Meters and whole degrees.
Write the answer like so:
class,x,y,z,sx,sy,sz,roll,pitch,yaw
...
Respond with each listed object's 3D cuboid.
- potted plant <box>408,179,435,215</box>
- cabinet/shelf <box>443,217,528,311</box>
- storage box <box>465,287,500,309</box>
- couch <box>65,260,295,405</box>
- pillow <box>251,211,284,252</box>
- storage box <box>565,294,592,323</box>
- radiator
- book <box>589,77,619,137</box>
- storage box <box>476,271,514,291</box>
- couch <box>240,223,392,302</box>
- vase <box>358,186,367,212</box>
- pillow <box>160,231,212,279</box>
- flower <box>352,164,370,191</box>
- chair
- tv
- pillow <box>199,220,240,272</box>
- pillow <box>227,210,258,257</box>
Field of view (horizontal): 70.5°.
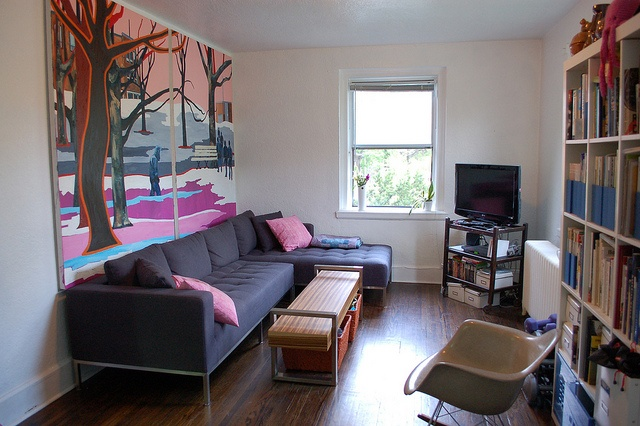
class,x,y,z,sx,sy,sz,roll,pitch,yaw
potted plant,1.406,-0.182,6.047,0.363,0.281,0.420,5,-5,-14
cabinet/shelf,1.956,0.571,5.425,0.600,0.910,0.795,-8,11,-36
storage box,1.899,0.972,5.240,0.413,0.190,0.165,-1,11,1
couch,-1.256,0.611,3.890,0.884,0.633,1.752,1,6,13
pillow,-0.719,0.248,5.848,0.173,0.436,0.440,-10,0,40
storage box,1.887,0.721,3.337,0.150,0.262,0.273,1,4,21
radiator,2.212,0.673,4.524,0.271,0.724,0.768,2,10,12
book,1.855,-0.675,2.931,0.076,0.310,0.333,-1,2,7
storage box,2.025,0.747,5.192,0.423,0.192,0.184,-3,11,-9
couch,0.044,0.526,5.550,1.382,0.727,1.016,1,7,15
vase,0.571,-0.200,6.102,0.099,0.327,0.070,-2,11,1
pillow,-1.328,0.443,4.562,0.173,0.411,0.437,-30,-7,28
flower,0.544,-0.495,6.129,0.274,0.302,0.277,3,-4,-25
chair,1.134,1.036,3.087,0.869,0.839,0.816,3,8,27
tv,1.959,-0.203,5.272,0.697,0.609,0.096,10,18,42
pillow,-1.104,0.368,5.130,0.188,0.438,0.437,-16,5,21
pillow,-0.950,0.266,5.567,0.181,0.342,0.494,2,13,20
